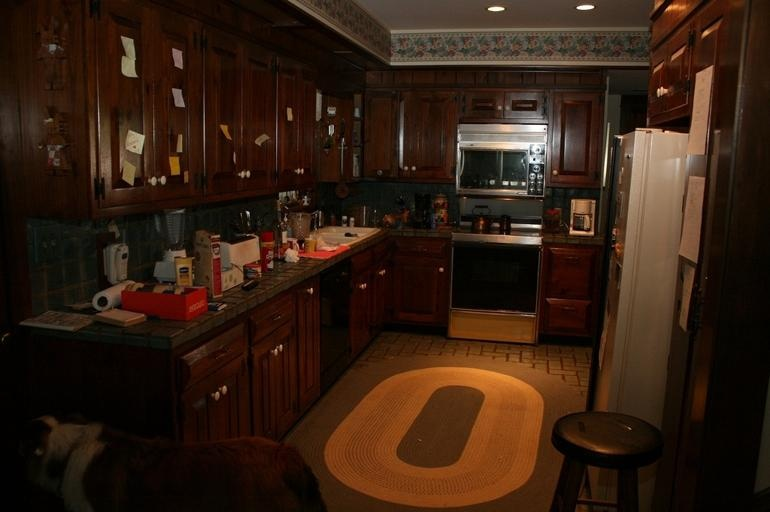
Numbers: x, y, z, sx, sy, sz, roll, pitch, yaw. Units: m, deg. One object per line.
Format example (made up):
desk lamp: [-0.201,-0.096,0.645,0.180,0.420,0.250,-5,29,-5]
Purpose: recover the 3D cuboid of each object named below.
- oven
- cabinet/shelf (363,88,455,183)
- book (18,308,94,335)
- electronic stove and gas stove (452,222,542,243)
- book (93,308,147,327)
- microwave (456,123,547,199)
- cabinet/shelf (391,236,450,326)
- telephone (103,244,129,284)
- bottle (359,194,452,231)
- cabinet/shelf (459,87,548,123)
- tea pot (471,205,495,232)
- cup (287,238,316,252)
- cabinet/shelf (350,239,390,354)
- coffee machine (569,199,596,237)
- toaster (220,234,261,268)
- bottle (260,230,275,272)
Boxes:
oven: [1.056,0.318,6.046,0.942,1.077,0.818,3,2,3]
cabinet/shelf: [0.217,-1.269,6.144,1.029,0.902,0.368,-7,11,-24]
book: [-1.580,0.310,2.868,0.311,0.047,0.183,5,14,13]
electronic stove and gas stove: [1.134,-0.242,5.879,0.854,0.118,0.574,5,14,12]
book: [-1.310,0.300,2.904,0.217,0.043,0.149,5,14,14]
microwave: [1.205,-0.948,6.026,1.086,0.865,0.675,2,7,14]
cabinet/shelf: [0.369,0.149,6.068,0.672,1.043,0.579,0,24,-2]
telephone: [-1.453,0.030,3.174,0.115,0.207,0.122,11,16,17]
bottle: [0.337,-0.480,6.203,0.794,0.417,0.338,1,-10,15]
cabinet/shelf: [1.201,-1.509,5.888,0.838,0.313,0.279,3,6,11]
tea pot: [1.027,-0.398,5.993,0.200,0.277,0.322,2,14,11]
cup: [-0.621,-0.092,4.536,0.248,0.122,0.100,2,9,8]
cabinet/shelf: [-0.148,0.342,5.293,0.431,0.779,0.851,2,20,9]
coffee machine: [1.942,-0.396,5.818,0.294,0.337,0.307,7,6,43]
toaster: [-0.903,-0.042,3.643,0.098,0.159,0.316,3,11,23]
bottle: [-0.779,-0.037,3.977,0.105,0.256,0.116,3,3,41]
